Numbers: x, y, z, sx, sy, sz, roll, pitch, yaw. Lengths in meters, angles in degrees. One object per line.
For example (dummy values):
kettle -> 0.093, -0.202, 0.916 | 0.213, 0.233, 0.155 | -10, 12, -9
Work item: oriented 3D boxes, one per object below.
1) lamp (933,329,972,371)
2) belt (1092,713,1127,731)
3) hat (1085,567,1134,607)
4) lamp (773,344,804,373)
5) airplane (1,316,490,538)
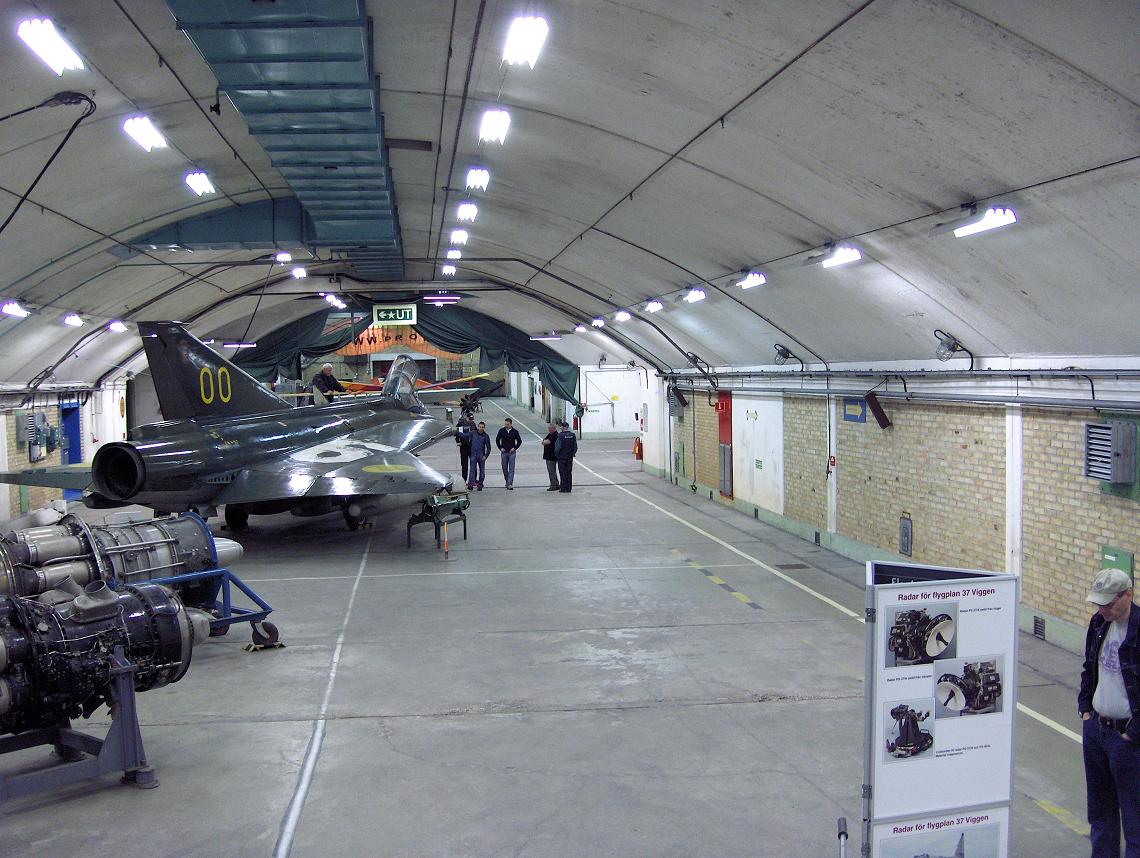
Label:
lamp -> 5.444, -1.156, 12.648 | 0.377, 0.568, 0.551 | -2, 8, -12
belt -> 4.088, 2.219, 6.714 | 0.050, 0.104, 0.256 | -6, 8, -32
hat -> 4.109, 1.209, 6.732 | 0.273, 0.298, 0.241 | 4, 9, 26
lamp -> 4.293, -1.450, 17.574 | 0.521, 0.571, 1.108 | 0, 7, 2
airplane -> -5.577, 0.227, 17.093 | 6.991, 2.066, 6.296 | 3, 4, 30
